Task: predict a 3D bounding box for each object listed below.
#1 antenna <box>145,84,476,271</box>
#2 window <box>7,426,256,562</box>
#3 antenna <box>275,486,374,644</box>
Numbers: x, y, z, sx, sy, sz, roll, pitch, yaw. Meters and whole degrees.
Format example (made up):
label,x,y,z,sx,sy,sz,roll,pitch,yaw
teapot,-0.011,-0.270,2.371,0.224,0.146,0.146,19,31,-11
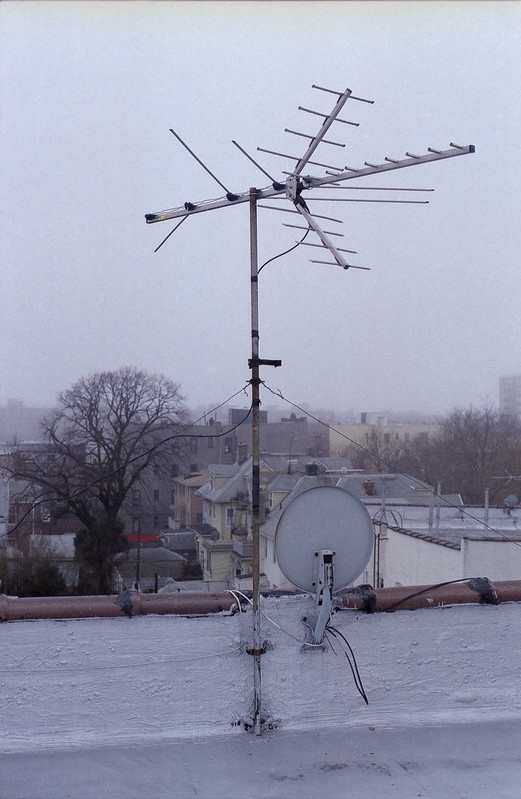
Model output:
label,x,y,z,sx,sy,sz,roll,pitch,yaw
antenna,0.276,-1.247,10.425,1.659,0.433,1.901,-19,-18,28
window,-2.590,1.914,32.840,3.463,0.612,1.371,-29,-5,17
antenna,0.410,1.058,10.758,0.640,1.012,0.363,1,-2,-4
